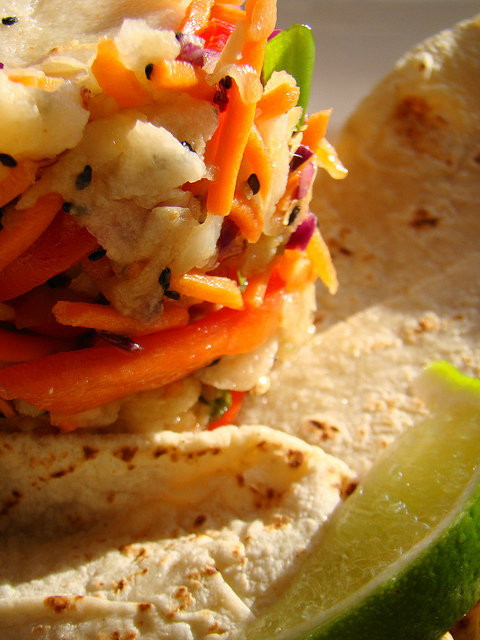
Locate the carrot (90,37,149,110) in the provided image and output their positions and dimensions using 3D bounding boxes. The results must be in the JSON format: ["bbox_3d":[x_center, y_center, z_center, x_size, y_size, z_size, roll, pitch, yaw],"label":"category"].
[{"bbox_3d":[-0.177,-0.355,1.030,0.100,0.097,0.031,-7,39,5],"label":"carrot"}]

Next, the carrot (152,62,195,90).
[{"bbox_3d":[-0.096,-0.354,1.033,0.072,0.039,0.017,-12,21,-23],"label":"carrot"}]

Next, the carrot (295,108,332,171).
[{"bbox_3d":[0.131,-0.337,1.320,0.050,0.131,0.017,35,-9,-29],"label":"carrot"}]

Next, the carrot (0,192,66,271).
[{"bbox_3d":[-0.329,-0.139,1.083,0.080,0.140,0.054,13,37,-23],"label":"carrot"}]

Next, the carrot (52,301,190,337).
[{"bbox_3d":[-0.193,0.013,1.208,0.276,0.067,0.056,5,74,-24],"label":"carrot"}]

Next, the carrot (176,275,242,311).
[{"bbox_3d":[-0.054,-0.041,1.172,0.107,0.046,0.034,5,27,-27],"label":"carrot"}]

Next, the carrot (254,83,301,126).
[{"bbox_3d":[0.064,-0.354,1.156,0.052,0.089,0.023,59,22,-6],"label":"carrot"}]

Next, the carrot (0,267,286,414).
[{"bbox_3d":[-0.187,0.030,1.205,0.454,0.118,0.086,-29,25,-20],"label":"carrot"}]
